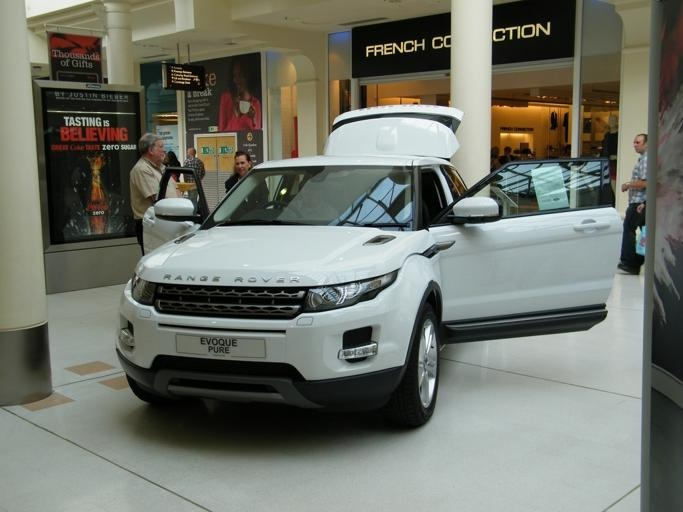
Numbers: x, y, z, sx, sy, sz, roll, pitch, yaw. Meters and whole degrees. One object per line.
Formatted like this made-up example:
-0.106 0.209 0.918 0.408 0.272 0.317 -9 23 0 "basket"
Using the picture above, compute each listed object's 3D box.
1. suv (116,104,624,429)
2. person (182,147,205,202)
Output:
0.320 0.001 4.389 2.673 1.600 3.117 0 3 28 "suv"
-4.578 -2.293 15.322 0.562 1.972 0.563 -1 30 -23 "person"
